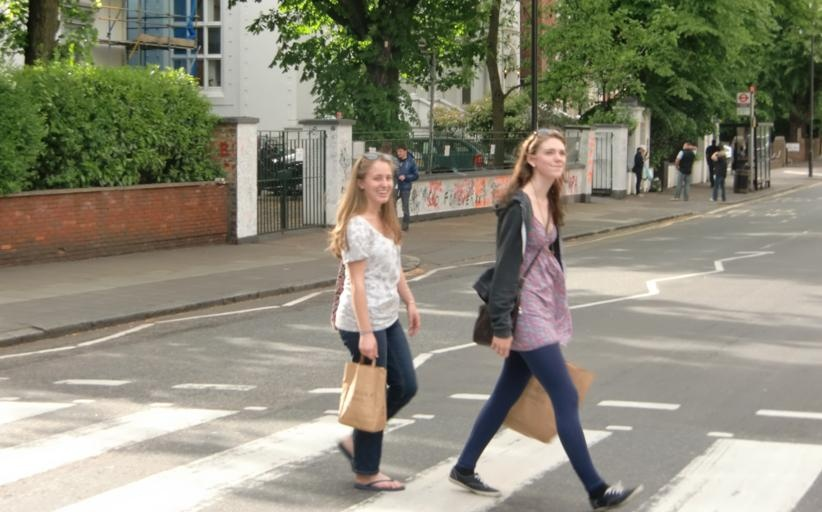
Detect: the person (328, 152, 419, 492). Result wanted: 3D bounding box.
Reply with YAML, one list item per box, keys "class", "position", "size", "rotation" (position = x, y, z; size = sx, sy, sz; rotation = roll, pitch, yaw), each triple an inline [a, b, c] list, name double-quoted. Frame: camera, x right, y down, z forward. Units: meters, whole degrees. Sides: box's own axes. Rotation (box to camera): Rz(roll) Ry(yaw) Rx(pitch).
- class: "person"
  position: [-0.307, 0.298, 8.804]
  size: [0.844, 2.572, 0.808]
  rotation: [-6, 13, -27]

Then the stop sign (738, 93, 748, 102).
- class: "stop sign"
  position: [14.152, -6.735, 38.056]
  size: [0.472, 0.435, 0.504]
  rotation: [3, 12, 16]

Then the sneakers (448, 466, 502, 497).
- class: "sneakers"
  position: [0.583, 2.162, 8.796]
  size: [0.560, 0.233, 0.212]
  rotation: [20, -4, -2]

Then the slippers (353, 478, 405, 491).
- class: "slippers"
  position: [-0.304, 2.242, 8.761]
  size: [0.316, 0.079, 0.178]
  rotation: [-2, -1, 7]
